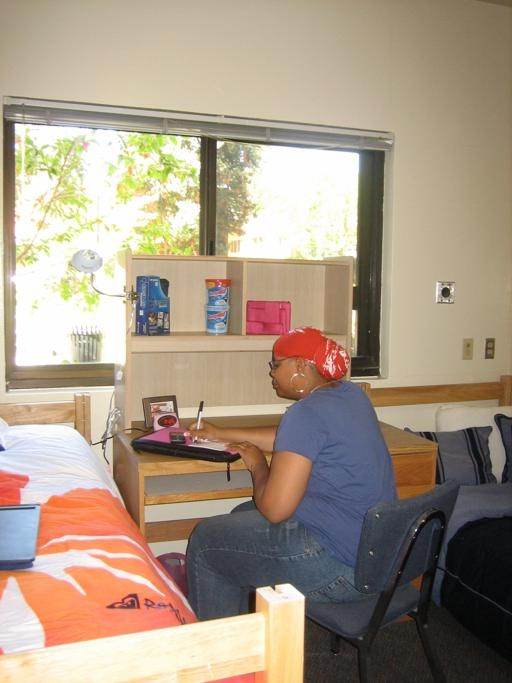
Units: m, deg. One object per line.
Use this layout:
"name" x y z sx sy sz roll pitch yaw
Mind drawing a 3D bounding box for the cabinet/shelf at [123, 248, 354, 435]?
"cabinet/shelf" -0.106 0.001 2.177 0.787 0.754 0.297 -1 3 -15

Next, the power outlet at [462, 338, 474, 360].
"power outlet" 1.152 0.041 3.016 0.084 0.100 0.010 12 -2 -27

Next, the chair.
"chair" 0.339 0.613 1.446 0.403 0.444 0.225 12 -3 -40

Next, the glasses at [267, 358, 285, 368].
"glasses" 0.062 0.067 1.679 0.043 0.014 0.030 -3 0 -37

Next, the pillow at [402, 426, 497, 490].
"pillow" 0.885 0.534 2.491 0.398 0.275 0.138 0 -5 -10
